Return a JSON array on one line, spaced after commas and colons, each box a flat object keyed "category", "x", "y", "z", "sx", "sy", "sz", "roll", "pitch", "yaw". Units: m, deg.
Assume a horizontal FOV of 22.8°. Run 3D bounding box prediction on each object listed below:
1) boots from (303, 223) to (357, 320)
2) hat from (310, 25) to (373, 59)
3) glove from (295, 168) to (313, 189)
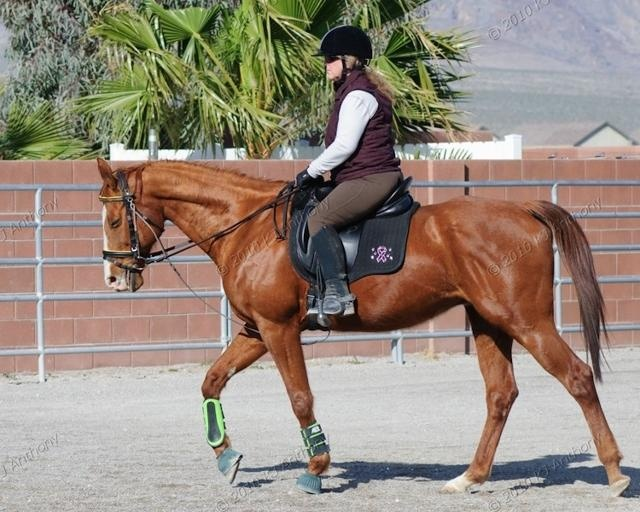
[{"category": "boots", "x": 0.126, "y": 0.230, "z": 16.523, "sx": 0.456, "sy": 1.012, "sz": 0.373, "roll": -1, "pitch": 12, "yaw": -1}, {"category": "hat", "x": 0.283, "y": -2.236, "z": 16.911, "sx": 0.654, "sy": 0.349, "sz": 0.453, "roll": 1, "pitch": -2, "yaw": 1}, {"category": "glove", "x": -0.190, "y": -0.816, "z": 16.800, "sx": 0.206, "sy": 0.085, "sz": 0.152, "roll": -31, "pitch": -19, "yaw": 35}]
